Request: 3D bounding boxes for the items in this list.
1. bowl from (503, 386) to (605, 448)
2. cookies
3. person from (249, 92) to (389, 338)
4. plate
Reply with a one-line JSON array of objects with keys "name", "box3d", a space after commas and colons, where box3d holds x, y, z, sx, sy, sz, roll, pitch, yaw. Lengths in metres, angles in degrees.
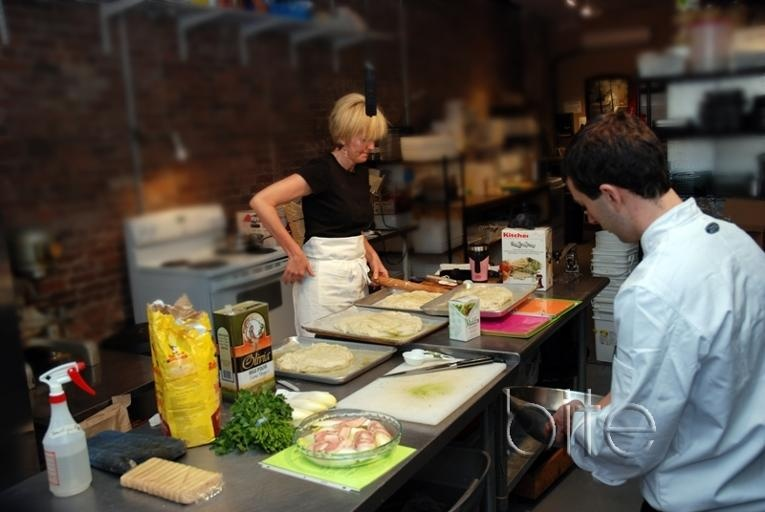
[{"name": "bowl", "box3d": [0.641, 0.552, 2.150, 0.343, 0.229, 0.415, 9, 13, 31]}, {"name": "cookies", "box3d": [-0.647, 0.681, 1.642, 0.313, 0.079, 0.114, -1, 11, 23]}, {"name": "person", "box3d": [-0.477, -0.194, 3.506, 0.677, 1.585, 0.808, 20, 20, 39]}, {"name": "plate", "box3d": [-0.119, 0.583, 1.725, 0.323, 0.119, 0.365, 6, 8, 6]}]
